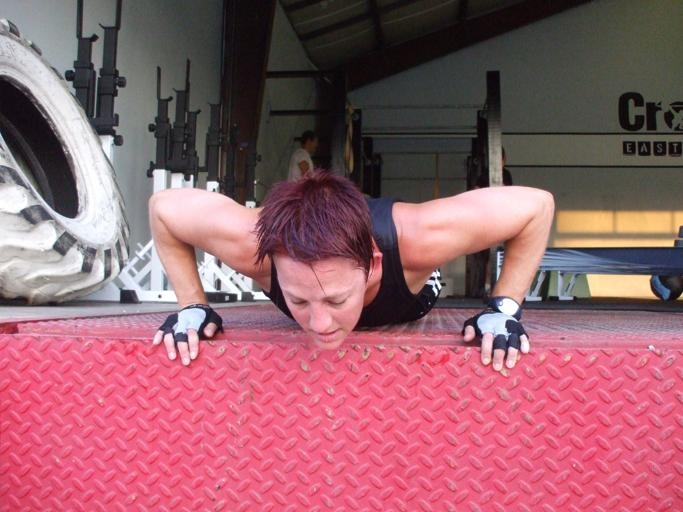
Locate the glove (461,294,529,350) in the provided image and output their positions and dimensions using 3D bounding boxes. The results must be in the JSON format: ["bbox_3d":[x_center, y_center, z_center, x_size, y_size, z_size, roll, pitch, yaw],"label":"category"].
[{"bbox_3d":[0.426,0.211,1.919,0.160,0.113,0.278,9,23,15],"label":"glove"}]

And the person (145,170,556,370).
[{"bbox_3d":[0.040,-0.047,2.617,1.228,0.692,1.742,-1,15,7],"label":"person"}]

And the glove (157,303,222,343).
[{"bbox_3d":[-0.420,0.187,1.982,0.146,0.065,0.209,7,25,3],"label":"glove"}]
